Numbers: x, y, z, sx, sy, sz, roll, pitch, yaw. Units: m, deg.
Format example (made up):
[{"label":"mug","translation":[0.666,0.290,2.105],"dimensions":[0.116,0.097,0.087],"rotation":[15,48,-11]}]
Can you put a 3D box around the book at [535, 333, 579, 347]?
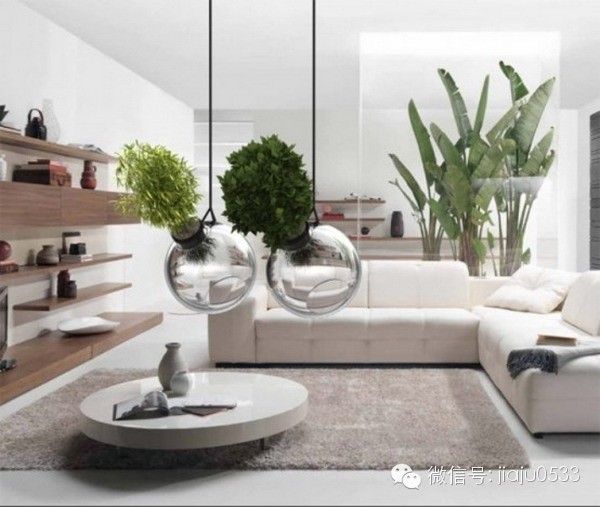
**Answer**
[{"label":"book","translation":[1.648,0.578,3.394],"dimensions":[0.241,0.079,0.142],"rotation":[6,11,32]}]

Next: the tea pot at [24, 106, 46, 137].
[{"label":"tea pot","translation":[-2.053,-1.010,4.098],"dimensions":[0.160,0.258,0.264],"rotation":[-4,9,-23]}]

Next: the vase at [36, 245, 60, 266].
[{"label":"vase","translation":[-2.020,0.013,4.277],"dimensions":[0.149,0.164,0.160],"rotation":[3,2,8]}]

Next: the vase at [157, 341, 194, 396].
[{"label":"vase","translation":[-0.702,0.654,3.098],"dimensions":[0.229,0.393,0.263],"rotation":[1,-1,1]}]

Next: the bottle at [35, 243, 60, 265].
[{"label":"bottle","translation":[-2.024,0.006,4.255],"dimensions":[0.145,0.159,0.156],"rotation":[3,1,5]}]
